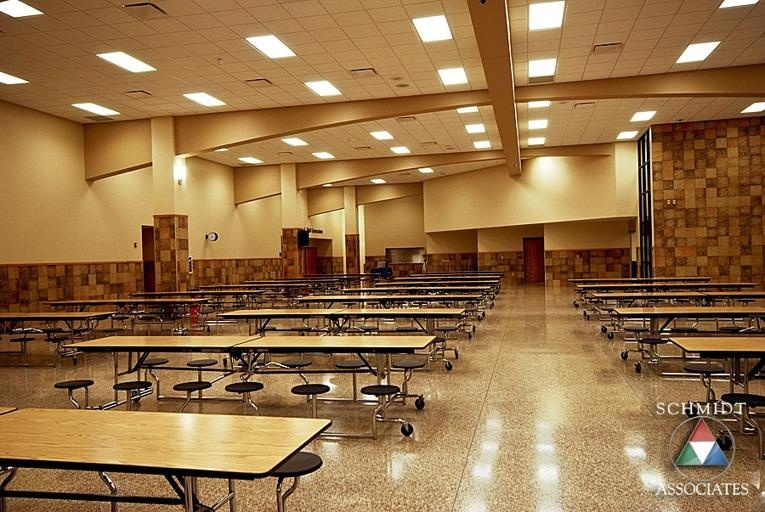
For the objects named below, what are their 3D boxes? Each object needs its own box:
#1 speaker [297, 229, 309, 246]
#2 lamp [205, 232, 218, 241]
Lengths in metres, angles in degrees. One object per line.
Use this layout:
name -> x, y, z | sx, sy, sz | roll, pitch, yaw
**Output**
speaker -> -3.341, -0.785, 22.932 | 0.445, 0.643, 0.821 | 0, 2, 18
lamp -> -6.741, -0.760, 21.579 | 0.418, 0.263, 0.271 | 1, 8, -12
